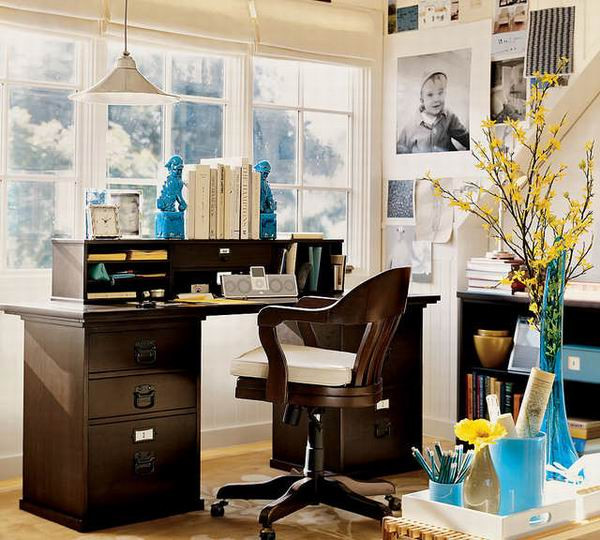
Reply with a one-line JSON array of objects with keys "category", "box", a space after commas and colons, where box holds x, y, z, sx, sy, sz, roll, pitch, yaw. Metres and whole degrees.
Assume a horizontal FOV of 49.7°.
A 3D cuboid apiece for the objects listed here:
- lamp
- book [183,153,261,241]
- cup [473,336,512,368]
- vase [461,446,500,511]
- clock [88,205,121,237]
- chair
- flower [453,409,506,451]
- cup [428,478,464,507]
[{"category": "lamp", "box": [-0.694, -0.836, 2.755, 0.388, 0.490, 0.383, 1, 1, 18]}, {"category": "book", "box": [-0.433, -0.365, 3.206, 0.340, 0.497, 0.375, -1, 5, -18]}, {"category": "cup", "box": [1.025, 0.418, 3.456, 0.163, 0.144, 0.172, 1, 0, 0]}, {"category": "vase", "box": [0.370, 0.427, 1.327, 0.070, 0.133, 0.036, 1, 1, 16]}, {"category": "clock", "box": [-0.862, -0.214, 2.831, 0.119, 0.140, 0.030, 0, -1, -31]}, {"category": "chair", "box": [0.052, 0.377, 2.882, 0.850, 1.280, 0.965, 2, 1, 18]}, {"category": "flower", "box": [0.387, 0.354, 1.389, 0.102, 0.076, 0.159, 1, 0, 18]}, {"category": "cup", "box": [0.298, 0.458, 1.332, 0.047, 0.039, 0.050, 0, 1, 0]}]
